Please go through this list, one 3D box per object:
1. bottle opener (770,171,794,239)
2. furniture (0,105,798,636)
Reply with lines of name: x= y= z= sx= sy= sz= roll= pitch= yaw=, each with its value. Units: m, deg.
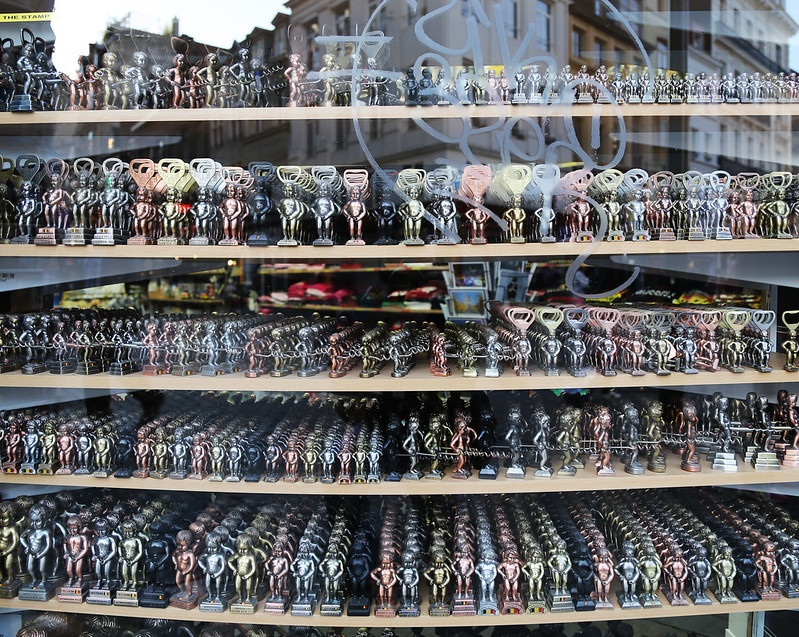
bottle opener: x=1.899 y=-0.562 z=4.498 sx=0.112 sy=0.323 sz=0.165 roll=1 pitch=6 yaw=23
furniture: x=0.003 y=0.287 z=4.510 sx=2.687 sy=1.579 sz=0.997 roll=-1 pitch=3 yaw=1
